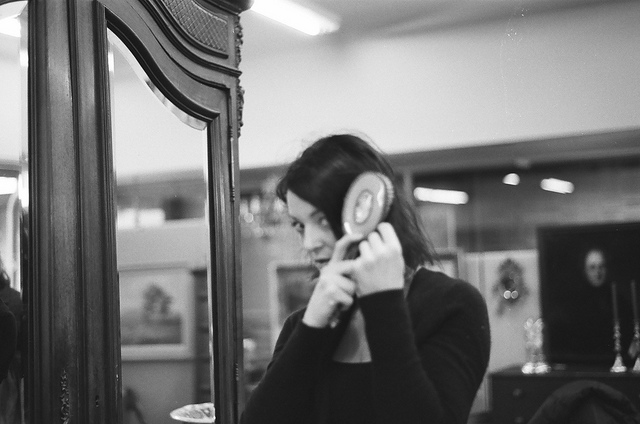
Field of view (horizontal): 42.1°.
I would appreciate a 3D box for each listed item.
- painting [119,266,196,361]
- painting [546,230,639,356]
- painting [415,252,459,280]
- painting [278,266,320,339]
[{"bbox_3d":[-0.880,0.508,4.372,0.544,0.539,0.039,-3,-3,22],"label":"painting"},{"bbox_3d":[1.067,0.312,3.210,0.478,0.542,0.041,0,-2,11],"label":"painting"},{"bbox_3d":[0.459,0.197,3.189,0.116,0.122,0.032,5,-17,-9],"label":"painting"},{"bbox_3d":[-0.079,0.360,3.384,0.024,0.342,0.301,2,-9,-18],"label":"painting"}]
